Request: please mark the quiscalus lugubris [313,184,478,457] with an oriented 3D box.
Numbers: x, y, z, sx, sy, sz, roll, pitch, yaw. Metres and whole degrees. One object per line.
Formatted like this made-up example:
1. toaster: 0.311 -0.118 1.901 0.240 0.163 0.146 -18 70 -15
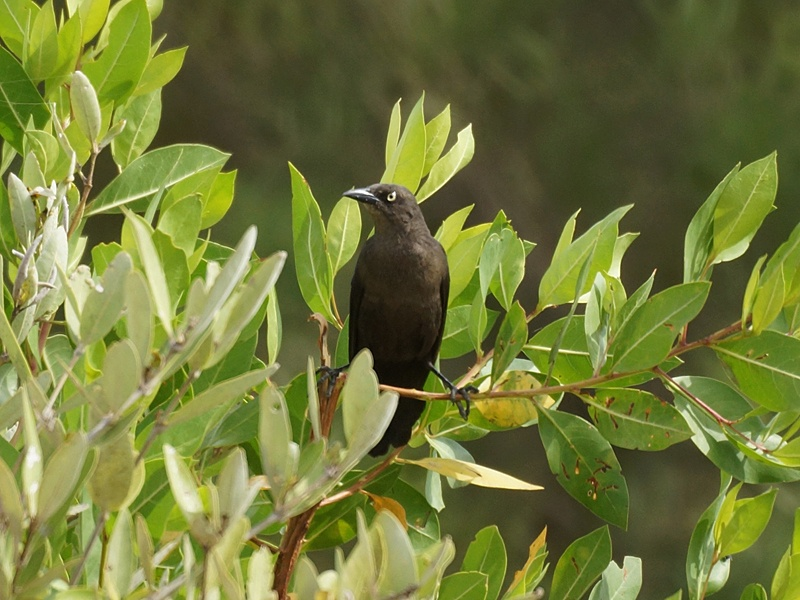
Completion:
1. quiscalus lugubris: -0.005 0.046 3.558 0.359 0.791 0.771 6 10 -3
